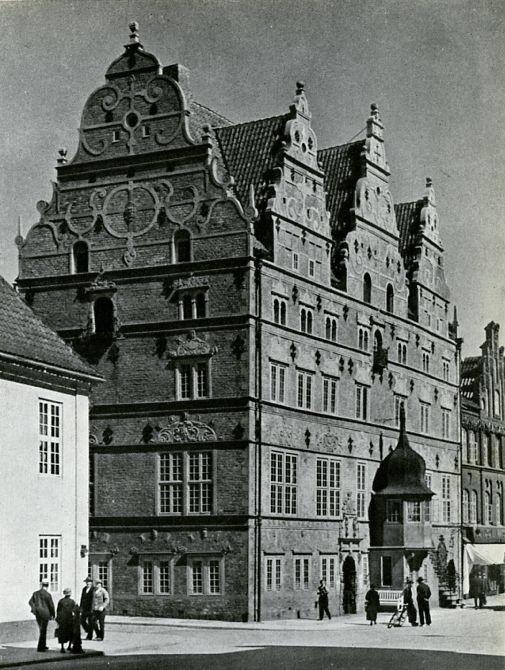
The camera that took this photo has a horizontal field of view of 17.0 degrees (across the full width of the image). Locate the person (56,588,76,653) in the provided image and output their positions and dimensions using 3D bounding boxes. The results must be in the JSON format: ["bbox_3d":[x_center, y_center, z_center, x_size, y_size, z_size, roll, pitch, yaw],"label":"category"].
[{"bbox_3d":[-4.613,7.152,42.278,0.504,1.571,0.502,5,-13,-22],"label":"person"}]

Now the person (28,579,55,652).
[{"bbox_3d":[-5.197,6.995,41.969,0.624,1.788,1.015,1,-12,-7],"label":"person"}]
